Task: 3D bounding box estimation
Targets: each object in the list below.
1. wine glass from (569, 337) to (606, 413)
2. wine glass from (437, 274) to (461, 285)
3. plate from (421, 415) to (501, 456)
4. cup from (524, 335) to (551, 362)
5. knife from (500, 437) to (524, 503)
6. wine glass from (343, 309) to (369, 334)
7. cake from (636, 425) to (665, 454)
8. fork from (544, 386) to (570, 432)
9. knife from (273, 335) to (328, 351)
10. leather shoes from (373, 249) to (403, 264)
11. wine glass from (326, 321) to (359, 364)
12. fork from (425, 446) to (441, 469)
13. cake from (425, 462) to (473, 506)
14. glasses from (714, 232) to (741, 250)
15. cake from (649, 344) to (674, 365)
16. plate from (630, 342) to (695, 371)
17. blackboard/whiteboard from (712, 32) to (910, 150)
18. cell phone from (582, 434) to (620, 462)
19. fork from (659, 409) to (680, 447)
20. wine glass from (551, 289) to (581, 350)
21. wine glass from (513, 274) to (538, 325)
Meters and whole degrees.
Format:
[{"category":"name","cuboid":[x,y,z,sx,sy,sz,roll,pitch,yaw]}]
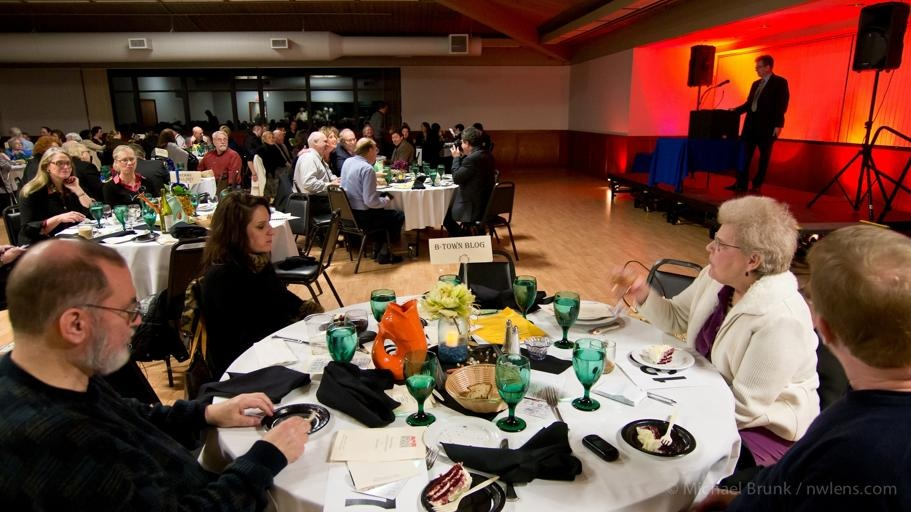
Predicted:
[{"category":"wine glass","cuboid":[0.607,0.536,2.508,0.138,0.284,0.216,4,15,13]},{"category":"wine glass","cuboid":[-0.031,0.129,2.916,0.082,0.069,0.078,-1,4,-9]},{"category":"plate","cuboid":[0.030,0.764,2.327,0.335,0.093,0.156,-1,14,-3]},{"category":"cup","cuboid":[0.412,0.480,2.800,0.106,0.051,0.107,-1,7,0]},{"category":"knife","cuboid":[0.221,0.866,2.174,0.052,0.019,0.186,-7,54,2]},{"category":"wine glass","cuboid":[-0.540,0.343,2.954,0.126,0.122,0.122,-6,12,-31]},{"category":"cake","cuboid":[0.819,0.773,2.299,0.107,0.055,0.107,3,14,12]},{"category":"fork","cuboid":[0.457,0.677,2.470,0.039,0.031,0.180,-21,25,5]},{"category":"knife","cuboid":[-0.816,0.458,2.845,0.337,0.034,0.035,12,33,19]},{"category":"leather shoes","cuboid":[-0.791,0.003,6.645,0.421,0.160,0.137,-13,22,-35]},{"category":"wine glass","cuboid":[-0.561,0.426,2.683,0.128,0.198,0.303,-1,14,-6]},{"category":"fork","cuboid":[-0.104,0.834,2.250,0.040,0.015,0.071,7,49,7]},{"category":"cake","cuboid":[-0.027,0.902,2.138,0.181,0.105,0.058,-30,-17,-19]},{"category":"glasses","cuboid":[1.425,-0.082,2.847,0.091,0.026,0.086,11,13,0]},{"category":"cake","cuboid":[1.045,0.486,2.710,0.154,0.072,0.084,-2,14,-10]},{"category":"plate","cuboid":[1.025,0.511,2.708,0.176,0.023,0.176,12,23,38]},{"category":"blackboard/whiteboard","cuboid":[5.595,-2.526,8.408,0.043,1.505,2.910,-15,19,-24]},{"category":"cell phone","cuboid":[0.608,0.796,2.268,0.071,0.036,0.140,-10,17,-27]},{"category":"fork","cuboid":[0.919,0.714,2.333,0.050,0.039,0.267,18,35,20]},{"category":"wine glass","cuboid":[0.581,0.328,2.886,0.133,0.256,0.281,3,14,12]},{"category":"wine glass","cuboid":[0.380,0.228,3.012,0.111,0.220,0.175,3,15,11]}]
